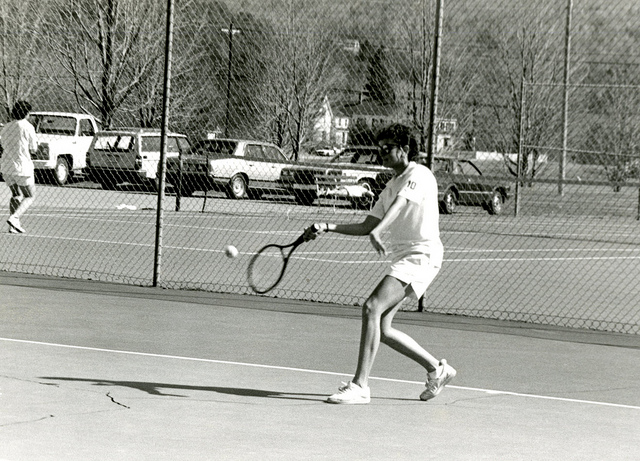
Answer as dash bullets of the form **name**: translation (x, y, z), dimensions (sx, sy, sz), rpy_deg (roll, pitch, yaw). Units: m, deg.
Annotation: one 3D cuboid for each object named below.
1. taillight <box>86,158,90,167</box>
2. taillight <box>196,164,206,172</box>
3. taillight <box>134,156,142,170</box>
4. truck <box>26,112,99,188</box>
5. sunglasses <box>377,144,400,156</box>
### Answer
- **taillight**: translation (-6.832, -2.045, 31.239), dimensions (0.075, 0.242, 0.306), rpy_deg (-1, 7, -25)
- **taillight**: translation (-3.478, -1.870, 31.239), dimensions (0.271, 0.210, 0.108), rpy_deg (3, 6, 8)
- **taillight**: translation (-5.225, -1.978, 30.624), dimensions (0.271, 0.388, 0.081), rpy_deg (6, 7, 32)
- **truck**: translation (-7.805, -2.468, 30.957), dimensions (2.164, 1.956, 3.910), rpy_deg (2, 3, 19)
- **sunglasses**: translation (0.639, -0.769, 10.033), dimensions (0.133, 0.120, 0.282), rpy_deg (-1, 7, -26)
